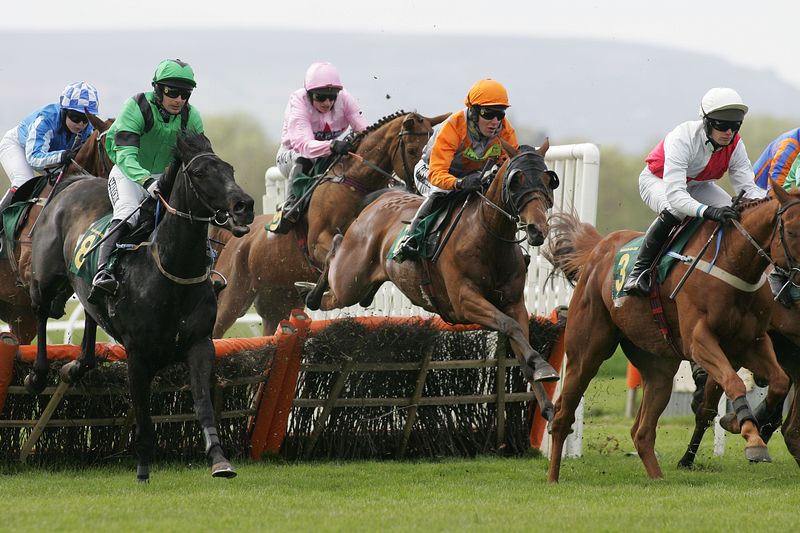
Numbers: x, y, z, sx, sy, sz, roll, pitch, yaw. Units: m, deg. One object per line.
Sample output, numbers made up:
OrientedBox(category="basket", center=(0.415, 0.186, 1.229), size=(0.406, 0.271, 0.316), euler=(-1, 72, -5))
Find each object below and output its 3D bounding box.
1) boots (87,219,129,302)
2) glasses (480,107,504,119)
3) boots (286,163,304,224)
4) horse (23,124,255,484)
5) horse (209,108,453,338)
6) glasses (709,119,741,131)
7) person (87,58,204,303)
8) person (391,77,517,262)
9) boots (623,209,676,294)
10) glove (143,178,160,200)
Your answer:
OrientedBox(category="boots", center=(-2.327, -0.040, 9.766), size=(0.284, 0.629, 0.478), euler=(1, 1, -16))
OrientedBox(category="glasses", center=(0.777, -1.281, 10.436), size=(0.247, 0.068, 0.161), euler=(1, 2, -22))
OrientedBox(category="boots", center=(-1.071, -0.763, 12.293), size=(0.142, 0.659, 0.174), euler=(10, 8, -11))
OrientedBox(category="horse", center=(-2.164, 0.296, 9.845), size=(0.961, 2.707, 2.360), euler=(1, 1, -42))
OrientedBox(category="horse", center=(-0.991, -0.017, 12.616), size=(3.634, 2.283, 0.820), euler=(-26, -36, 35))
OrientedBox(category="glasses", center=(2.566, -1.115, 9.783), size=(0.258, 0.075, 0.155), euler=(1, 2, -10))
OrientedBox(category="person", center=(-1.966, -0.534, 9.725), size=(0.772, 1.934, 1.579), euler=(1, -1, -17))
OrientedBox(category="person", center=(0.502, -0.694, 10.548), size=(0.612, 1.157, 1.424), euler=(19, -43, -37))
OrientedBox(category="boots", center=(1.963, -0.097, 9.943), size=(0.276, 0.851, 0.285), euler=(26, -3, -29))
OrientedBox(category="glove", center=(-1.968, -0.609, 9.766), size=(0.119, 0.159, 0.153), euler=(-4, -2, -4))
